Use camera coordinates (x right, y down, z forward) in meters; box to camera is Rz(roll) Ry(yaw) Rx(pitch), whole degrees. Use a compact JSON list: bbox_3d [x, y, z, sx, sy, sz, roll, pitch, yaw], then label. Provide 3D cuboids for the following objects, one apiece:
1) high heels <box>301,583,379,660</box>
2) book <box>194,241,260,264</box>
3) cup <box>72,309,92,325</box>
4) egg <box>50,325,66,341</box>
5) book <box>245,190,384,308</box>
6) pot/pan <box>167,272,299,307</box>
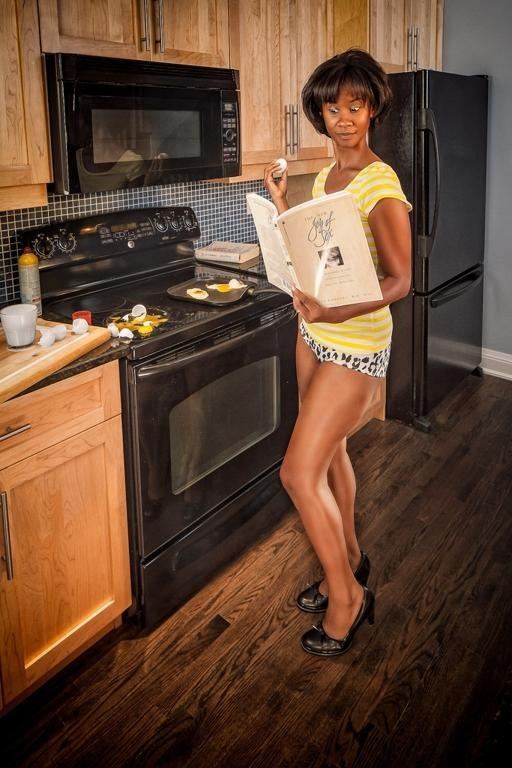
[{"bbox_3d":[0.230,0.650,1.544,0.213,0.107,0.110,-14,14,-33],"label":"high heels"},{"bbox_3d":[-0.109,-0.505,2.155,0.137,0.038,0.145,12,24,31],"label":"book"},{"bbox_3d":[-0.428,-0.170,1.391,0.048,0.039,0.050,2,24,-1],"label":"cup"},{"bbox_3d":[-0.444,-0.116,1.250,0.026,0.014,0.039,4,42,-5],"label":"egg"},{"bbox_3d":[0.116,-0.266,1.121,0.241,0.231,0.430,-3,14,-5],"label":"book"},{"bbox_3d":[-0.070,-0.281,1.702,0.238,0.030,0.144,13,22,27],"label":"pot/pan"}]
